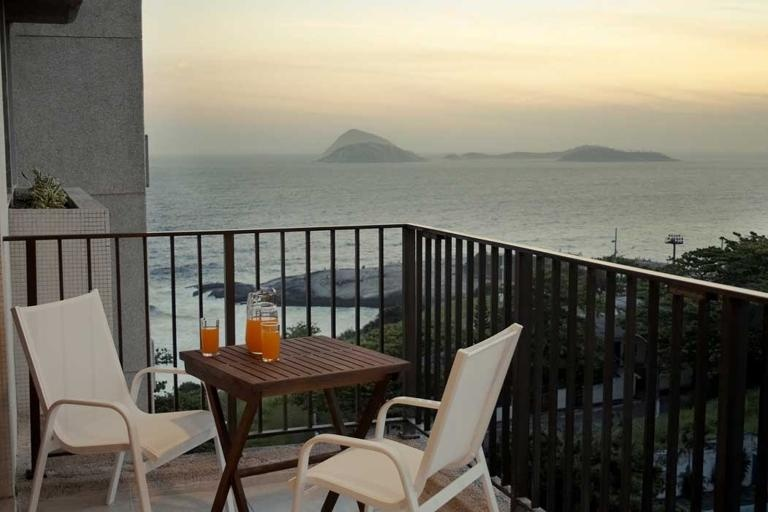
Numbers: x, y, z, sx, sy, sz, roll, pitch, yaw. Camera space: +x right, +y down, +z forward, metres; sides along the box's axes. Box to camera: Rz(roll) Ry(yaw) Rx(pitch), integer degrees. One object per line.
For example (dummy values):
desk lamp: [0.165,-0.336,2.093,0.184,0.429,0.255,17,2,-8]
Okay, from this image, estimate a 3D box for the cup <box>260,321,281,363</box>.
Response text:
cup: [-0.677,0.506,4.801,0.111,0.242,0.118,2,5,0]

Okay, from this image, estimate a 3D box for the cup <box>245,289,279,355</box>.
cup: [-0.747,0.417,4.970,0.223,0.370,0.238,1,2,0]

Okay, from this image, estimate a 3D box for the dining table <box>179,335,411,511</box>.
dining table: [-0.566,0.722,4.982,1.210,1.183,1.064,-6,13,-33]
